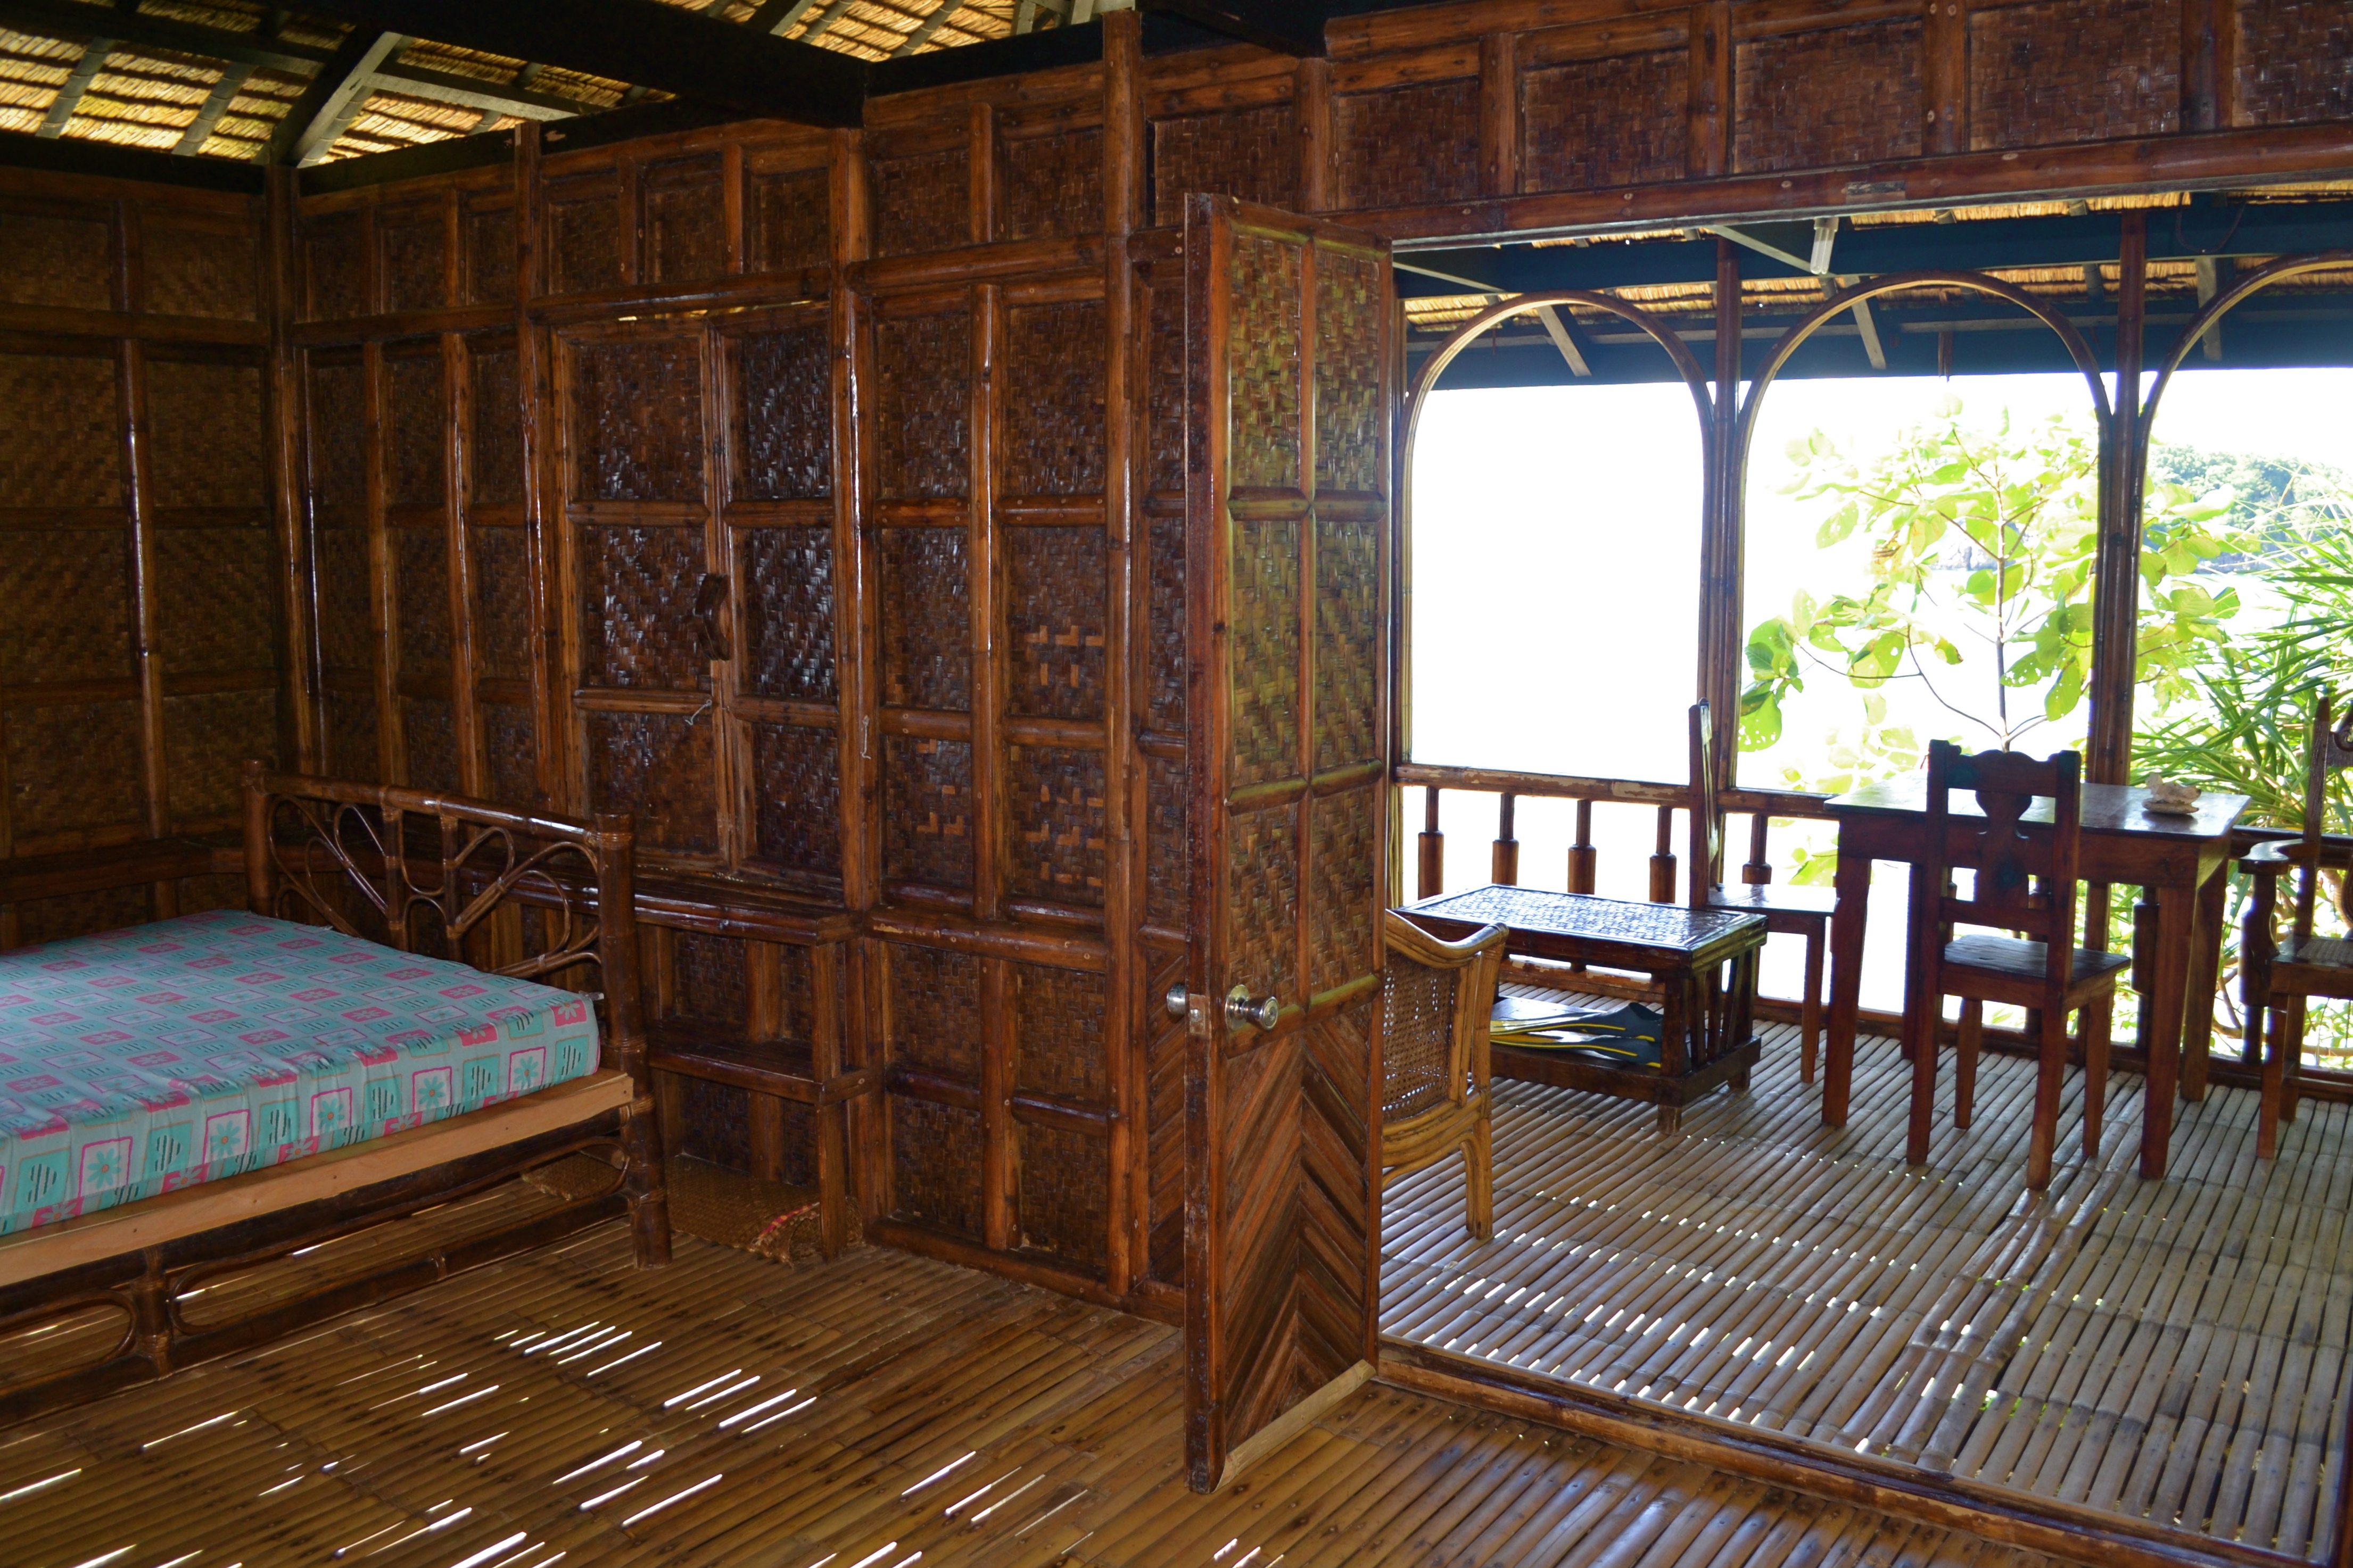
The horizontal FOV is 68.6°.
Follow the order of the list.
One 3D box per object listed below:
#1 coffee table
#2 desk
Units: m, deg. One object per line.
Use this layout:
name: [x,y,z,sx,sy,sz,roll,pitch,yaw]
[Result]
coffee table: [1.640,0.882,7.159,1.400,0.652,0.899,5,11,40]
desk: [3.324,0.717,6.769,1.731,1.130,1.648,6,2,-10]
